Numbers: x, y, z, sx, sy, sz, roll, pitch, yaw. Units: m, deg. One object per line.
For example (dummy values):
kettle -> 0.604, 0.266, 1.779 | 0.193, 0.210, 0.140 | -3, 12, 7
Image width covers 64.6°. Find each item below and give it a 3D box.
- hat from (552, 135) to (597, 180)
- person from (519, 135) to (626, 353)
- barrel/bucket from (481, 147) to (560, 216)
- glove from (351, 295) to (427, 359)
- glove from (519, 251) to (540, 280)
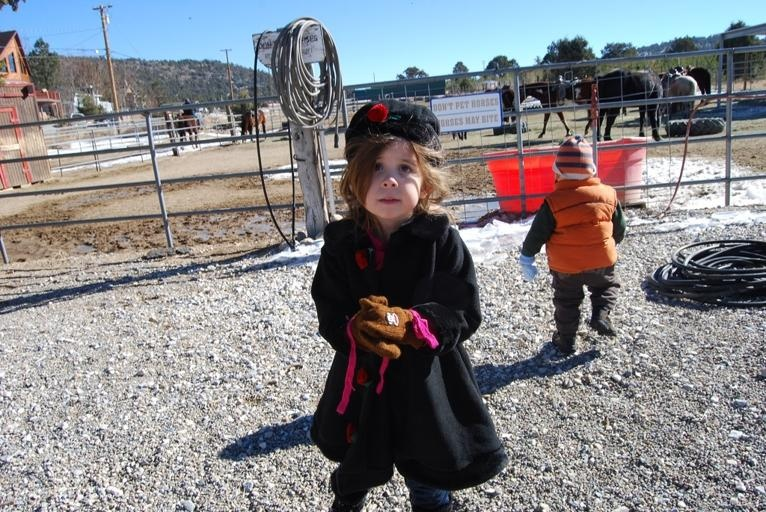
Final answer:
hat -> 1.503, -0.768, 4.778 | 0.261, 0.332, 0.359 | 0, 8, 8
person -> 1.583, -0.080, 4.910 | 0.901, 1.701, 0.445 | -12, 18, -23
barrel/bucket -> 1.829, -1.008, 7.950 | 0.938, 0.753, 0.843 | 0, 16, 15
glove -> 0.011, 0.391, 3.338 | 0.295, 0.192, 0.376 | 4, 25, -28
glove -> 1.194, 0.085, 5.021 | 0.202, 0.245, 0.092 | -2, 6, -5
